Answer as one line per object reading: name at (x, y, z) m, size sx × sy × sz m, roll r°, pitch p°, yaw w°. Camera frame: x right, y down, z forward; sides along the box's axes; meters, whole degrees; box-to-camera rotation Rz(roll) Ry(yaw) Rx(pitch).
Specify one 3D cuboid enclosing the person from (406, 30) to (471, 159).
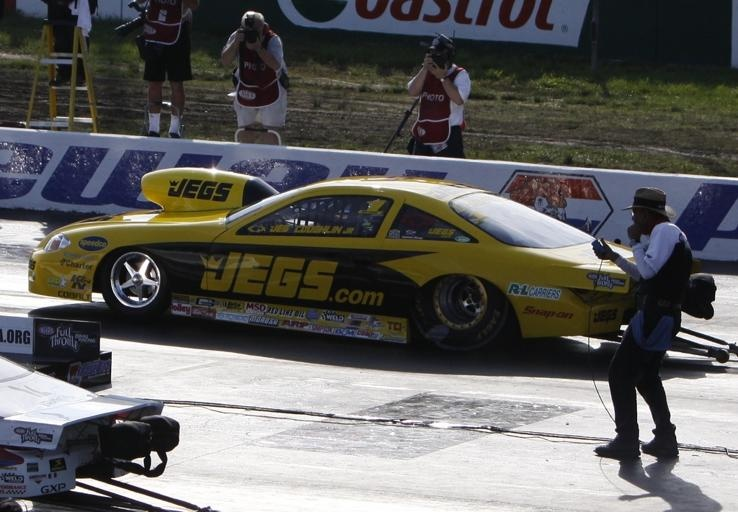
person at (0.999, -2.270, 21.063) m, size 0.837 × 1.737 × 0.636 m, roll 7°, pitch 14°, yaw 10°

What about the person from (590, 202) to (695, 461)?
person at (2.692, 0.660, 14.597) m, size 1.005 × 2.583 × 0.860 m, roll 7°, pitch 14°, yaw 7°

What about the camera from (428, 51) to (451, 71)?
camera at (0.982, -2.715, 20.694) m, size 0.275 × 0.227 × 0.165 m, roll 5°, pitch 30°, yaw -2°

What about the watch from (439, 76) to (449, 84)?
watch at (1.047, -2.478, 20.794) m, size 0.100 × 0.097 × 0.086 m, roll 4°, pitch 13°, yaw -3°

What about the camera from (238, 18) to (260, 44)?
camera at (-1.694, -3.245, 21.340) m, size 0.266 × 0.330 × 0.284 m, roll 4°, pitch 27°, yaw 9°

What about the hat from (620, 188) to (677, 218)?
hat at (2.772, -0.565, 14.732) m, size 0.455 × 0.179 × 0.362 m, roll 14°, pitch 9°, yaw 14°

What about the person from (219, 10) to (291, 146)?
person at (-1.675, -2.617, 21.855) m, size 0.970 × 1.943 × 0.764 m, roll 3°, pitch 14°, yaw -6°

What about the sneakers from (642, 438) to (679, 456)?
sneakers at (2.862, 1.878, 14.570) m, size 0.386 × 0.138 × 0.154 m, roll 5°, pitch 9°, yaw 18°
